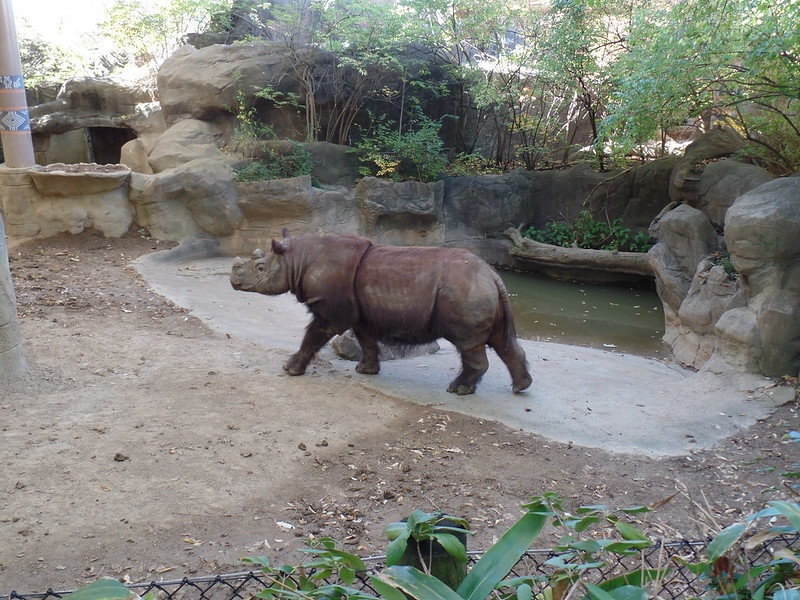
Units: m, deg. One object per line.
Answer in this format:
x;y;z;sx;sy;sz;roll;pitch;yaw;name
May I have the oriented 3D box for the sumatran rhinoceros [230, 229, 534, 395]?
-0.293;0.114;6.749;3.588;1.452;1.071;8;13;14;sumatran rhinoceros
